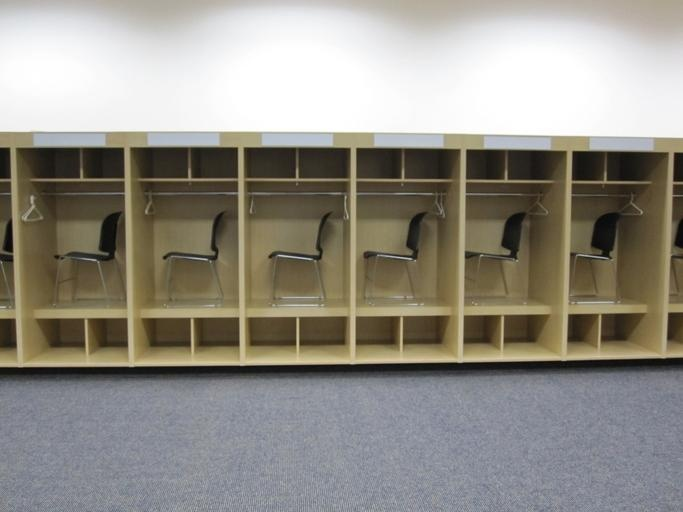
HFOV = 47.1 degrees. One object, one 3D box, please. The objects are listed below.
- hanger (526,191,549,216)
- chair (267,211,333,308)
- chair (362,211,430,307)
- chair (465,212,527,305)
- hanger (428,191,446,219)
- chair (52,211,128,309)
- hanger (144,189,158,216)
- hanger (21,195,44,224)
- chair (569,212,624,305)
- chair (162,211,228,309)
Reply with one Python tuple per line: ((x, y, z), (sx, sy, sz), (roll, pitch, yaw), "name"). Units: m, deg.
((2.226, -0.594, 8.818), (0.078, 0.278, 0.264), (-2, 4, -24), "hanger")
((-0.453, 0.102, 9.085), (0.910, 1.424, 0.781), (2, -2, -4), "chair")
((0.718, 0.018, 8.961), (0.859, 1.312, 0.903), (2, -1, -8), "chair")
((1.699, -0.014, 8.781), (0.672, 0.998, 0.633), (3, 5, 11), "chair")
((1.089, -0.572, 8.804), (0.116, 0.305, 0.313), (0, 1, -4), "hanger")
((-2.915, 0.052, 8.999), (0.887, 1.542, 0.898), (2, -1, -8), "chair")
((-2.093, -0.589, 8.633), (0.153, 0.281, 0.395), (-2, 3, -13), "hanger")
((-3.284, -0.500, 8.296), (0.115, 0.323, 0.284), (5, 5, 25), "hanger")
((2.773, -0.024, 8.702), (0.577, 0.959, 0.623), (2, 2, 18), "chair")
((-1.635, 0.075, 9.063), (0.928, 1.452, 0.765), (2, -2, -11), "chair")
